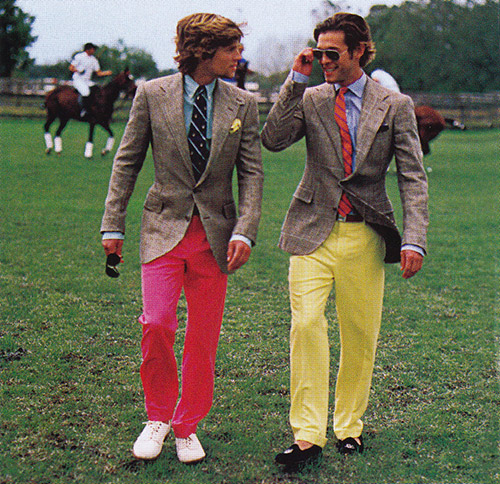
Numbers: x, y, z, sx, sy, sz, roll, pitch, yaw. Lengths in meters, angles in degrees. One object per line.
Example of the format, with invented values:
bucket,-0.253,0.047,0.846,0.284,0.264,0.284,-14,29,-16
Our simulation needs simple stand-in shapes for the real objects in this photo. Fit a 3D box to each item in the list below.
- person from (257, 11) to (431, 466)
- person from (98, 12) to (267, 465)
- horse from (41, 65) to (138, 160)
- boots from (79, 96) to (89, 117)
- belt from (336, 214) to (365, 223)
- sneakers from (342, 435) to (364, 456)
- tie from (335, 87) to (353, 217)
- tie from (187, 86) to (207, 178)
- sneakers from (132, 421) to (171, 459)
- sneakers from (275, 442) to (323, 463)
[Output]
person,0.519,-0.011,4.243,0.910,2.490,0.536,2,6,-1
person,-0.367,-0.026,4.155,0.855,2.416,0.392,2,6,0
horse,-1.374,-1.069,6.462,0.876,0.727,0.239,3,4,13
boots,-1.366,-1.119,6.230,0.038,0.179,0.092,-4,-16,20
belt,0.559,-0.131,4.210,0.142,0.047,0.019,1,6,-11
sneakers,0.580,1.165,4.320,0.120,0.131,0.077,2,-7,-6
tie,0.519,-0.501,4.259,0.075,0.745,0.099,-8,-9,44
tie,-0.274,-0.586,4.113,0.114,0.510,0.099,1,6,-7
sneakers,-0.544,1.078,4.134,0.098,0.108,0.268,8,13,5
sneakers,0.268,1.151,4.164,0.255,0.092,0.105,-3,2,-11
